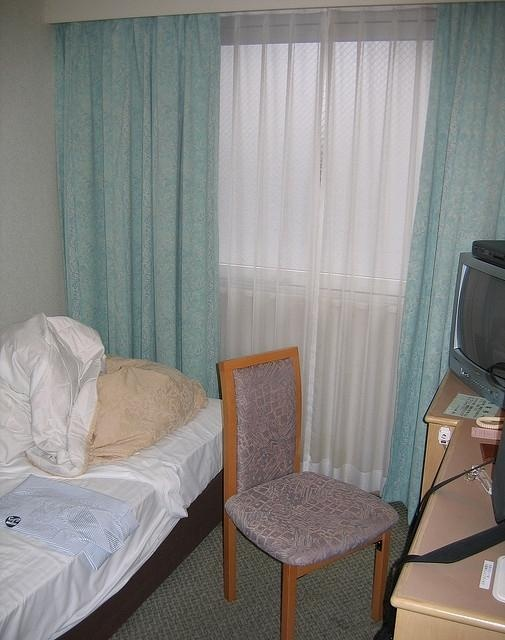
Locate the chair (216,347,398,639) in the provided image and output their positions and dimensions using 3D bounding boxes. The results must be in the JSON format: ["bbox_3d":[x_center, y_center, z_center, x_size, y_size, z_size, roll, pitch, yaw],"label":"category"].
[{"bbox_3d":[0.229,0.691,1.870,0.612,1.140,0.610,-10,19,-34],"label":"chair"}]
